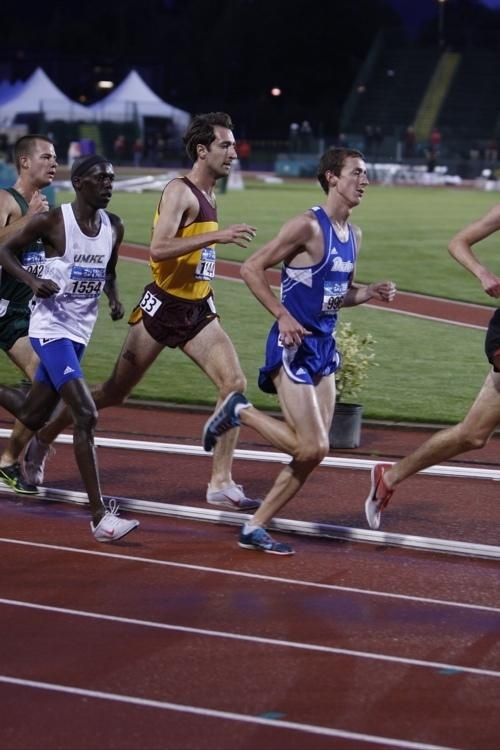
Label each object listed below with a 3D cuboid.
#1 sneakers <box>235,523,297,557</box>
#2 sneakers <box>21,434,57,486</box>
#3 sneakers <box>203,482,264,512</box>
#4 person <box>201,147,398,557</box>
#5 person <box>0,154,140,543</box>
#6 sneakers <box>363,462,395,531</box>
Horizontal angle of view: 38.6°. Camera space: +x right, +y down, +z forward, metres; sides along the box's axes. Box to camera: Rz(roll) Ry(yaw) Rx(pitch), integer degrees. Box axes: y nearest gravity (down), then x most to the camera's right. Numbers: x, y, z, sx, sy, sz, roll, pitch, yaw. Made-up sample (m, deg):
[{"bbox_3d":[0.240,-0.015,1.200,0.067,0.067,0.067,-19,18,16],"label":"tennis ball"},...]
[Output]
[{"bbox_3d":[0.060,0.799,3.492,0.316,0.108,0.110,5,0,16],"label":"sneakers"},{"bbox_3d":[-1.274,0.511,4.374,0.178,0.330,0.127,-9,-11,38],"label":"sneakers"},{"bbox_3d":[-0.115,0.703,4.183,0.403,0.149,0.126,7,-2,9],"label":"sneakers"},{"bbox_3d":[0.196,-0.119,3.403,0.650,1.964,0.550,2,4,-1],"label":"person"},{"bbox_3d":[-0.954,-0.155,3.805,0.729,1.924,1.123,2,4,-10],"label":"person"},{"bbox_3d":[0.663,0.633,3.754,0.145,0.358,0.159,-4,22,-32],"label":"sneakers"}]
